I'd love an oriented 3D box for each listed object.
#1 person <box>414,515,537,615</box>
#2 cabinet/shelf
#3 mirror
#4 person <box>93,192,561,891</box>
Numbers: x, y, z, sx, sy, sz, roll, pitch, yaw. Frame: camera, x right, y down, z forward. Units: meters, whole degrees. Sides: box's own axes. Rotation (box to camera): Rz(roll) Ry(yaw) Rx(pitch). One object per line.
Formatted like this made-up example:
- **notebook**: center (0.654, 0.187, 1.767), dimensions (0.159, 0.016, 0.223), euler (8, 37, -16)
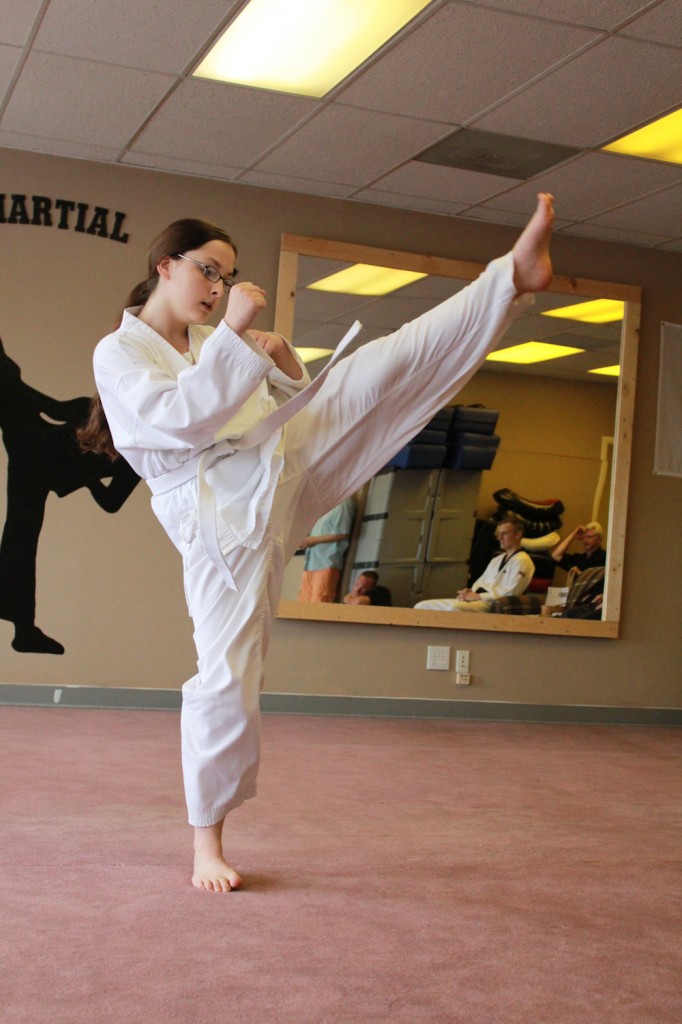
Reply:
- **person**: center (0.695, 0.342, 4.567), dimensions (0.806, 0.553, 0.337), euler (-5, 6, -18)
- **cabinet/shelf**: center (0.462, 0.119, 4.585), dimensions (0.464, 0.583, 0.434), euler (5, 7, 7)
- **mirror**: center (0.502, -0.290, 3.757), dimensions (2.472, 2.136, 0.126), euler (6, -10, -19)
- **person**: center (-0.116, 0.011, 1.616), dimensions (0.766, 1.296, 0.523), euler (7, 0, -16)
